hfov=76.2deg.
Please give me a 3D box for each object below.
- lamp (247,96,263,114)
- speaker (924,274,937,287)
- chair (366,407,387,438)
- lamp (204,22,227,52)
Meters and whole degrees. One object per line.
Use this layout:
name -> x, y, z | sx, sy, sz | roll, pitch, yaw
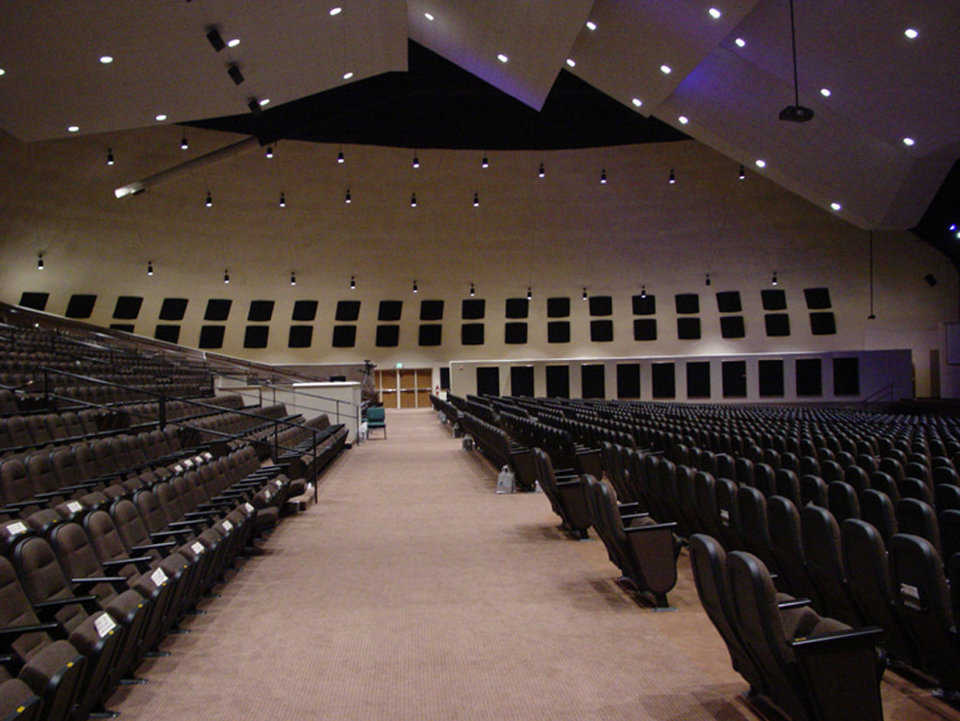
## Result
lamp -> -4.573, -5.186, 12.388 | 0.229, 0.243, 0.322 | -32, 16, -13
speaker -> 18.163, -3.204, 24.550 | 0.336, 0.464, 0.104 | -40, -2, 11
chair -> -2.946, 1.765, 17.272 | 0.592, 1.206, 0.712 | 0, -9, -5
lamp -> -4.256, -5.186, 9.838 | 0.221, 0.243, 0.416 | -26, 11, -6
